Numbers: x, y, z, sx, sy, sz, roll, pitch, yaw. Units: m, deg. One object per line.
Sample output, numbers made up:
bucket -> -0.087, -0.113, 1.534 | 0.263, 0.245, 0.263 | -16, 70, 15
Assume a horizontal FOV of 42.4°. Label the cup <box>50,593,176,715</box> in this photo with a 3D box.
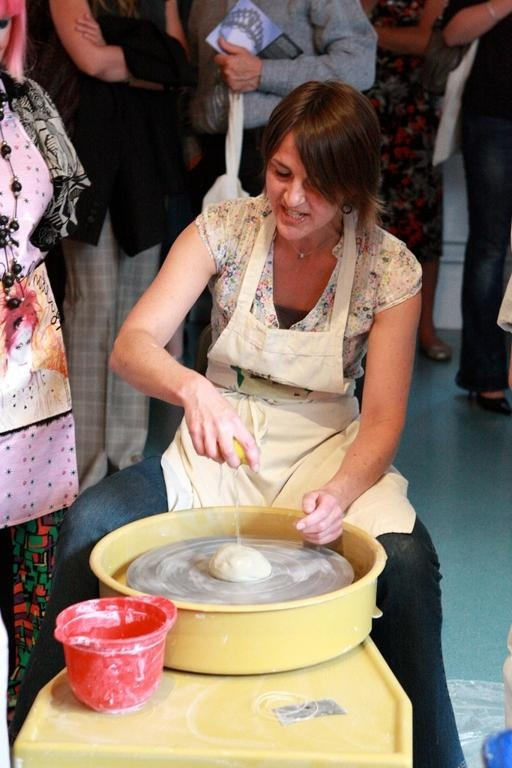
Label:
cup -> -0.146, 0.278, 0.718 | 0.104, 0.074, 0.121 | 10, 15, 43
